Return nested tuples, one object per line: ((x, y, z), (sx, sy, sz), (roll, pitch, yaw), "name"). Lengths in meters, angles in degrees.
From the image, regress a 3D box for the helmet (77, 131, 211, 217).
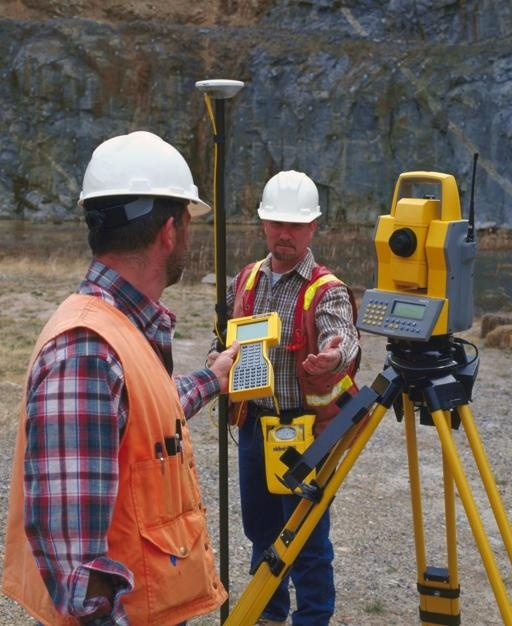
((-0.836, -1.010, 10.717), (0.609, 0.405, 0.564), (-1, 1, 2), "helmet")
